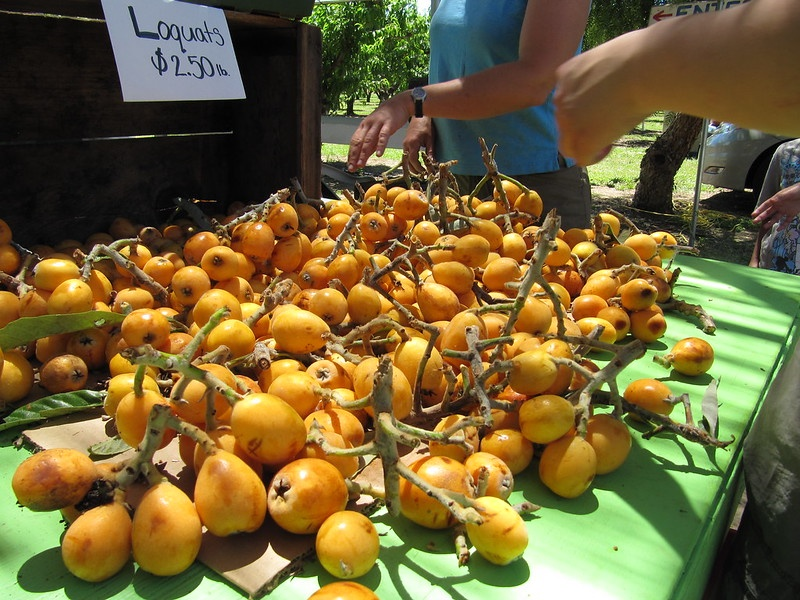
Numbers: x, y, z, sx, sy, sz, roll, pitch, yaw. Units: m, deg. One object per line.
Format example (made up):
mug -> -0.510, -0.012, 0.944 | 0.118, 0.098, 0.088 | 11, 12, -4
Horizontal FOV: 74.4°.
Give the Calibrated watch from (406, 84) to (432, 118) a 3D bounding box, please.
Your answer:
Calibrated watch -> 0.081, -0.834, 2.218 | 0.059, 0.107, 0.070 | -10, 24, -30
